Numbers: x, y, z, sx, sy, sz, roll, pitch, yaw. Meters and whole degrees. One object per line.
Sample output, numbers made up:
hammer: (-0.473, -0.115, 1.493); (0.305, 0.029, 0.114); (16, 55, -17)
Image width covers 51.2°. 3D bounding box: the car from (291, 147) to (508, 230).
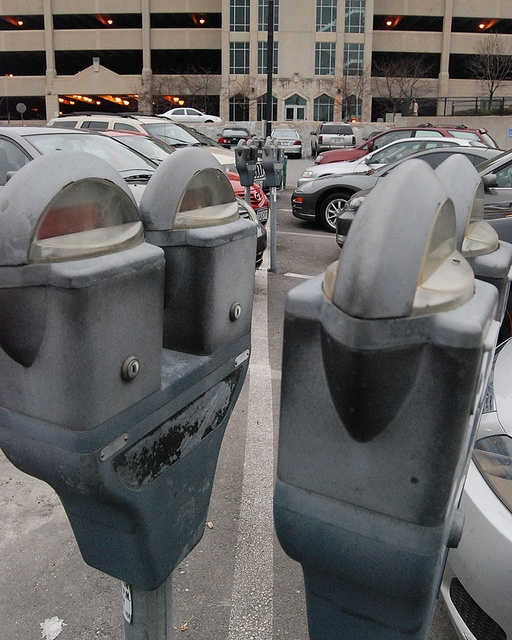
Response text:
car: (2.050, -1.910, 8.093); (3.203, 1.392, 1.726); (4, 26, 8)
